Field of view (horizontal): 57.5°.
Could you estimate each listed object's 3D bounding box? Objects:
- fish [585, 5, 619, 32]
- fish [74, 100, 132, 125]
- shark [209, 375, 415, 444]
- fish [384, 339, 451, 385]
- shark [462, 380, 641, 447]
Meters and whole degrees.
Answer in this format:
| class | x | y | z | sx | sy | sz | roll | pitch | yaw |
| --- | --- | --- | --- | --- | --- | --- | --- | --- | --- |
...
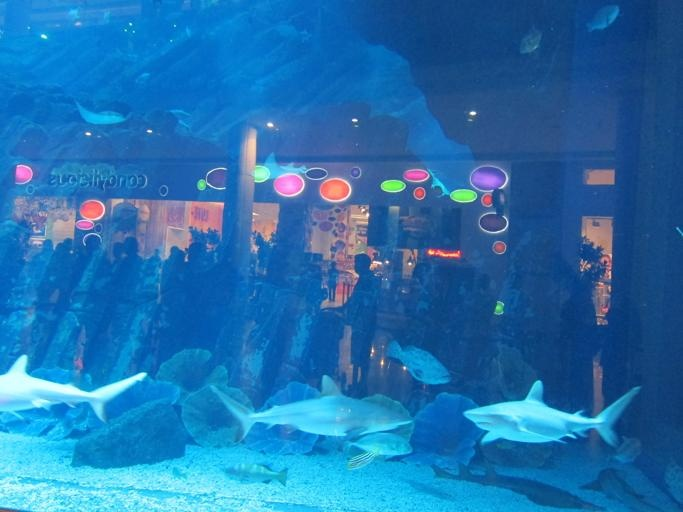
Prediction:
| class | x | y | z | sx | sy | sz | roll | pitch | yaw |
| --- | --- | --- | --- | --- | --- | --- | --- | --- | --- |
| fish | 2.340 | -2.142 | 5.544 | 0.264 | 0.224 | 0.170 | 3 | -8 | 25 |
| fish | -2.553 | -1.462 | 6.606 | 0.711 | 0.348 | 0.208 | 3 | -11 | 0 |
| shark | -0.276 | 1.433 | 5.920 | 1.962 | 0.754 | 0.622 | 0 | -14 | 2 |
| fish | 0.720 | 0.998 | 5.794 | 0.610 | 0.348 | 0.080 | 6 | -8 | -1 |
| shark | 1.789 | 1.396 | 5.475 | 1.416 | 0.610 | 0.362 | 6 | -8 | 1 |
